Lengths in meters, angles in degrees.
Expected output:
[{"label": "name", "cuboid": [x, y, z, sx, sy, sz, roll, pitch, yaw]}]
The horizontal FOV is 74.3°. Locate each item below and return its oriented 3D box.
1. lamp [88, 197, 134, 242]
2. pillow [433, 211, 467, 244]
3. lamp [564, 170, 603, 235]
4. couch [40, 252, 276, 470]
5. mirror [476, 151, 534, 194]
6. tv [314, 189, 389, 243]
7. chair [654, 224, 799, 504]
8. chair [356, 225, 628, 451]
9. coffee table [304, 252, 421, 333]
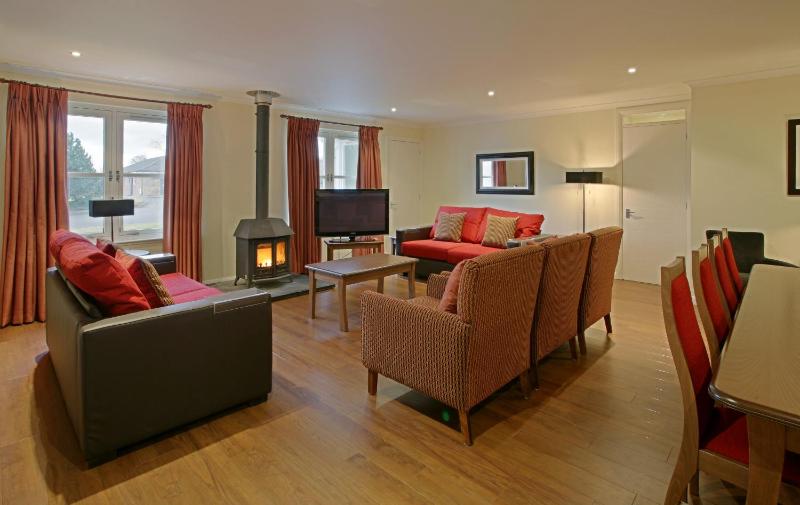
[{"label": "lamp", "cuboid": [-3.415, -0.283, 6.338, 0.438, 0.809, 0.166, -8, 31, -40]}, {"label": "pillow", "cuboid": [0.781, -0.369, 8.011, 0.425, 0.436, 0.156, 6, -15, 28]}, {"label": "lamp", "cuboid": [2.802, -0.712, 8.098, 0.467, 1.346, 0.250, 2, 40, 21]}, {"label": "couch", "cuboid": [-2.485, 0.762, 5.178, 1.554, 1.043, 2.447, -8, 16, -40]}, {"label": "mirror", "cuboid": [1.779, -1.348, 8.996, 1.009, 0.759, 0.078, 4, 18, 25]}, {"label": "tv", "cuboid": [-0.702, -0.564, 7.737, 0.742, 0.552, 0.202, -1, 7, -18]}, {"label": "chair", "cuboid": [2.322, 0.847, 3.776, 0.709, 1.553, 1.966, -1, 3, 34]}, {"label": "chair", "cuboid": [0.915, 0.625, 4.784, 2.261, 1.484, 0.864, -9, 14, -33]}, {"label": "coffee table", "cuboid": [-0.305, 0.430, 6.401, 0.978, 0.484, 0.626, -11, 7, -31]}]
